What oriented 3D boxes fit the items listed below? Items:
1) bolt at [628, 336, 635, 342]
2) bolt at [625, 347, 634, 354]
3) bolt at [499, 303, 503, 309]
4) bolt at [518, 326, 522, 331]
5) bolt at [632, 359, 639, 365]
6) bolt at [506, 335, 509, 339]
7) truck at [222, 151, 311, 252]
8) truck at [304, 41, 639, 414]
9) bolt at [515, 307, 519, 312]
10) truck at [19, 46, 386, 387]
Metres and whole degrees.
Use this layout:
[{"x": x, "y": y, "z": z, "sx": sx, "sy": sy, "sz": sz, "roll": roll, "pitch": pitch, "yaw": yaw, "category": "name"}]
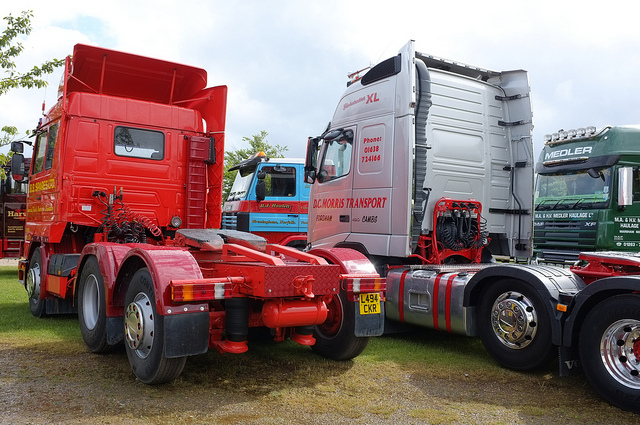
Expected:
[{"x": 3.521, "y": 1.448, "z": 4.629, "sx": 0.057, "sy": 0.063, "sz": 0.014, "roll": 0, "pitch": -3, "yaw": 38, "category": "bolt"}, {"x": 3.504, "y": 1.575, "z": 4.630, "sx": 0.062, "sy": 0.076, "sz": 0.011, "roll": 0, "pitch": -3, "yaw": 38, "category": "bolt"}, {"x": 2.577, "y": 1.340, "z": 5.834, "sx": 0.069, "sy": 0.073, "sz": 0.018, "roll": 2, "pitch": -7, "yaw": 37, "category": "bolt"}, {"x": 2.732, "y": 1.601, "z": 5.600, "sx": 0.047, "sy": 0.045, "sz": 0.080, "roll": 7, "pitch": 1, "yaw": -31, "category": "bolt"}, {"x": 3.536, "y": 1.689, "z": 4.584, "sx": 0.056, "sy": 0.059, "sz": 0.011, "roll": 0, "pitch": -3, "yaw": 39, "category": "bolt"}, {"x": 2.627, "y": 1.766, "z": 5.753, "sx": 0.035, "sy": 0.035, "sz": 0.062, "roll": 16, "pitch": 6, "yaw": -4, "category": "bolt"}, {"x": -1.353, "y": -0.156, "z": 13.407, "sx": 3.819, "sy": 2.842, "sz": 2.419, "roll": 4, "pitch": 1, "yaw": -45, "category": "truck"}, {"x": 2.581, "y": -0.340, "z": 7.576, "sx": 2.997, "sy": 5.237, "sz": 5.594, "roll": 4, "pitch": -3, "yaw": -44, "category": "truck"}, {"x": 2.709, "y": 1.343, "z": 5.646, "sx": 0.075, "sy": 0.043, "sz": 0.053, "roll": 5, "pitch": -15, "yaw": 44, "category": "bolt"}, {"x": -2.734, "y": -0.337, "z": 7.517, "sx": 7.437, "sy": 4.490, "sz": 3.455, "roll": 2, "pitch": -2, "yaw": 44, "category": "truck"}]
